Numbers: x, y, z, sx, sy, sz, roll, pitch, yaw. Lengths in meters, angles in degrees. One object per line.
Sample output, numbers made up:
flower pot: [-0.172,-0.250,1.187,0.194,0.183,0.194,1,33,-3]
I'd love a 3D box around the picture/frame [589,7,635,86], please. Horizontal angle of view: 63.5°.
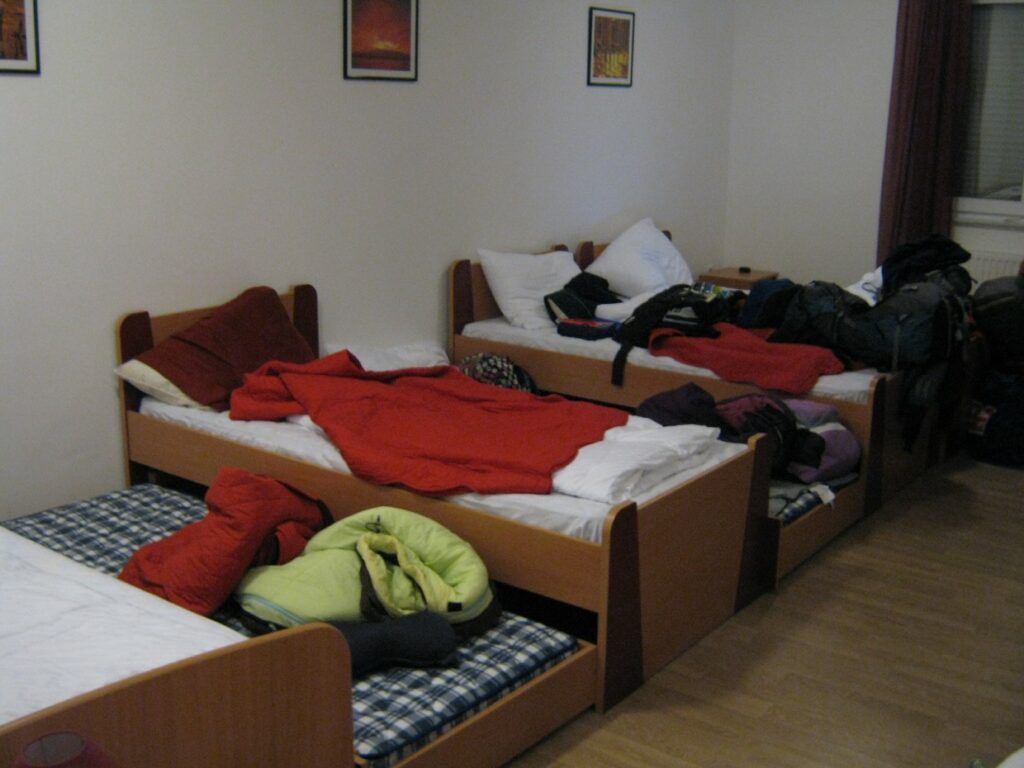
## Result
picture/frame: [0.633,-2.203,5.366,0.038,0.500,0.508,12,19,40]
